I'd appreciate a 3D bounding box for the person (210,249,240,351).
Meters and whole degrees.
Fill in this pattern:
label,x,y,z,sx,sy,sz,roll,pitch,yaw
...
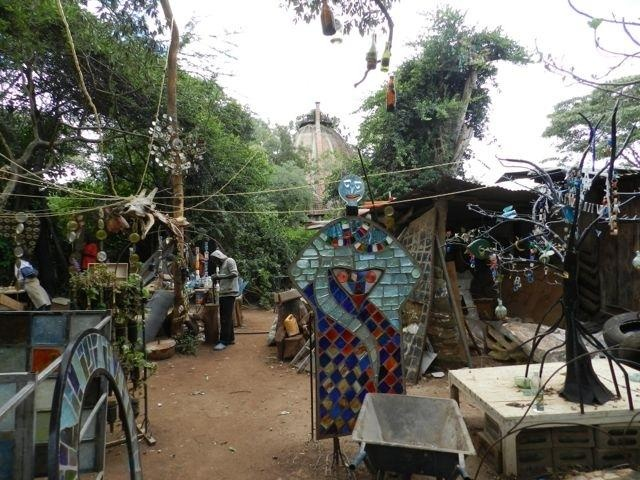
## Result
label,x,y,z,sx,sy,sz,roll,pitch,yaw
person,-1.960,1.224,10.497,0.517,1.390,0.887,3,-2,-12

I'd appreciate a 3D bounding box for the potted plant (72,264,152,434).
label,x,y,z,sx,sy,sz,roll,pitch,yaw
potted plant,-2.684,1.429,6.739,0.982,1.841,2.198,3,-3,-20

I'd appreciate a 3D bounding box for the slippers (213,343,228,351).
label,x,y,z,sx,sy,sz,roll,pitch,yaw
slippers,-2.042,2.183,10.662,0.099,0.112,0.259,-5,-15,18
